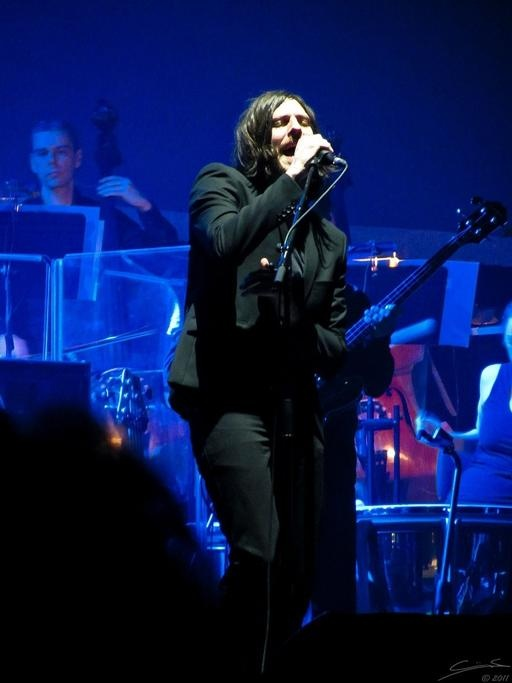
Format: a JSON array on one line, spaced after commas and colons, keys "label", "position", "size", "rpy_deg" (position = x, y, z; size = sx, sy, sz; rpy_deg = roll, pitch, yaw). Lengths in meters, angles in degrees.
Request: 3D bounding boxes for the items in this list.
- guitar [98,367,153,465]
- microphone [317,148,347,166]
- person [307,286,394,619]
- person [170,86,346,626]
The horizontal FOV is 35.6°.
[{"label": "guitar", "position": [-0.621, 0.353, 3.757], "size": [0.199, 0.439, 0.089], "rpy_deg": [-6, -1, -29]}, {"label": "microphone", "position": [0.191, -0.483, 2.064], "size": [0.081, 0.039, 0.038], "rpy_deg": [10, 13, 0]}, {"label": "person", "position": [0.336, 0.404, 3.046], "size": [0.357, 1.174, 0.150], "rpy_deg": [10, -8, -14]}, {"label": "person", "position": [0.010, 0.102, 2.206], "size": [0.410, 1.308, 0.551], "rpy_deg": [4, 4, 18]}]
